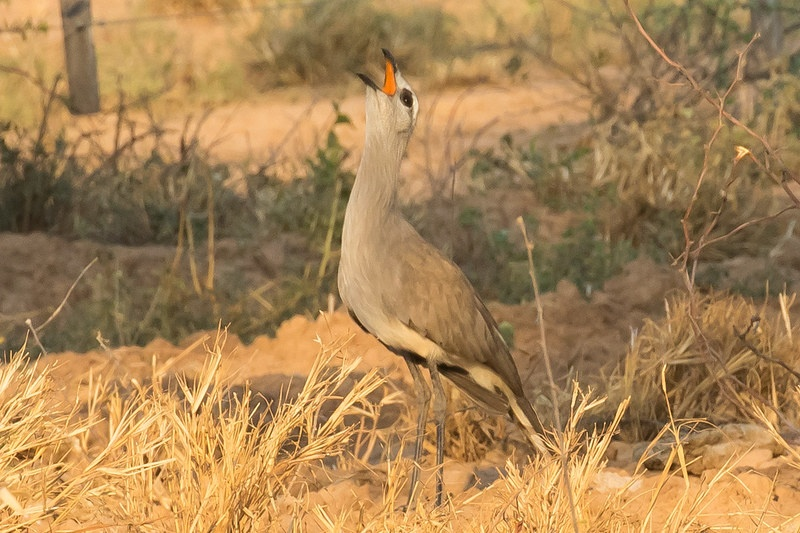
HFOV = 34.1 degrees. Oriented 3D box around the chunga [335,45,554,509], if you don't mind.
[{"bbox_3d":[0.244,-0.126,11.931,1.492,3.211,0.855,7,21,27],"label":"chunga"}]
